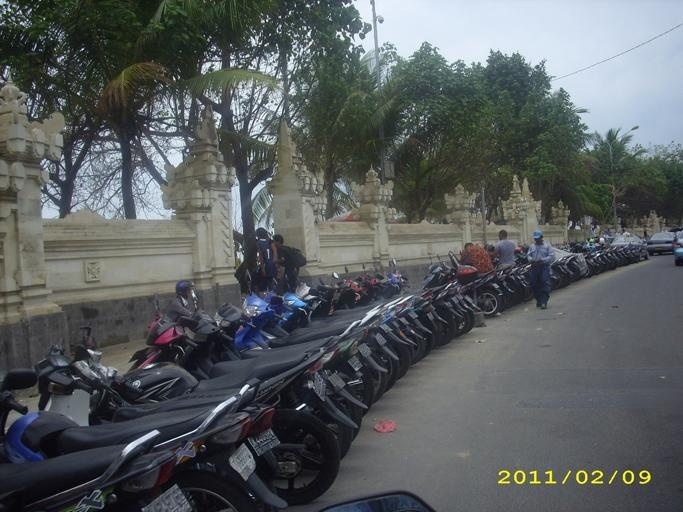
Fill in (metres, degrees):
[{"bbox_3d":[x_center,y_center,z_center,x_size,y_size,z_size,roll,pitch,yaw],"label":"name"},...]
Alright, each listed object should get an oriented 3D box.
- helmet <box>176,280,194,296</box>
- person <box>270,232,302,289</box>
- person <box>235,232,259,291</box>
[{"bbox_3d":[-1.896,0.398,7.348,0.199,0.207,0.157,-9,13,-29],"label":"helmet"},{"bbox_3d":[-1.234,0.137,13.289,0.763,1.406,0.586,-6,5,-39],"label":"person"},{"bbox_3d":[-2.281,0.138,13.775,0.298,1.359,0.342,6,1,41],"label":"person"}]
